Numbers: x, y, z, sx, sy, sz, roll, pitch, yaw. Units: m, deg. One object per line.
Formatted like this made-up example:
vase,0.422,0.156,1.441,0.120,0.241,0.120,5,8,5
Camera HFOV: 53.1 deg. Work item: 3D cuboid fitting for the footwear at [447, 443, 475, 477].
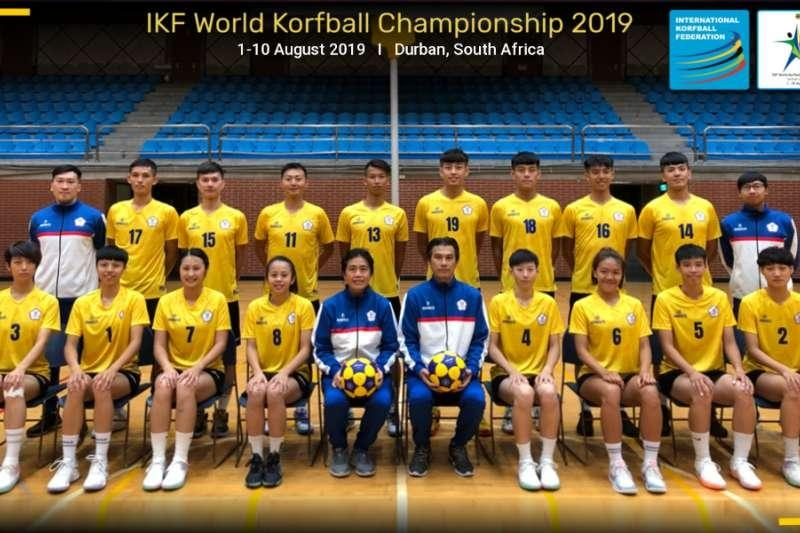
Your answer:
footwear,0.741,2.353,9.729,0.174,0.350,0.287,-4,4,-25

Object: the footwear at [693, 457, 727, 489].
footwear,3.690,2.445,9.542,0.332,0.348,0.227,-1,4,11

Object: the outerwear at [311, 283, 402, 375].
outerwear,-0.533,0.611,10.213,1.591,1.376,0.934,0,3,-5

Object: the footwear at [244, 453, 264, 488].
footwear,-1.723,2.428,9.553,0.223,0.376,0.227,-2,4,1

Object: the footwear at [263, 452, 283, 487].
footwear,-1.516,2.416,9.559,0.268,0.388,0.208,-4,4,-26

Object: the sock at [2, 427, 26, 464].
sock,-4.612,2.139,9.573,0.216,0.447,0.236,-4,4,-27

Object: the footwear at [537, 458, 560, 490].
footwear,1.763,2.460,9.530,0.242,0.341,0.287,-2,4,8

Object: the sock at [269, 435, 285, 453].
sock,-1.482,2.124,9.628,0.154,0.202,0.116,-3,4,-14

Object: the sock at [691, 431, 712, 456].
sock,3.605,2.128,9.624,0.177,0.329,0.193,0,4,25

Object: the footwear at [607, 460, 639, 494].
footwear,2.628,2.488,9.469,0.306,0.358,0.217,-1,4,11

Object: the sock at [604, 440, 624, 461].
sock,2.565,2.199,9.612,0.173,0.252,0.241,-1,4,17

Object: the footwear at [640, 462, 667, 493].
footwear,3.003,2.499,9.480,0.272,0.318,0.222,-1,4,12

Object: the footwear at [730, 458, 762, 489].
footwear,4.126,2.458,9.536,0.351,0.345,0.266,-2,4,3

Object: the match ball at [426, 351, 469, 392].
match ball,0.572,1.258,9.735,0.507,0.448,0.467,5,-1,0

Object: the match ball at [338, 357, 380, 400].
match ball,-0.551,1.368,9.730,0.524,0.448,0.458,-2,-17,-10

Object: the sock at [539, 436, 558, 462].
sock,1.764,2.164,9.600,0.172,0.280,0.203,-2,4,9

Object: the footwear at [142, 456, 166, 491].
footwear,-2.908,2.460,9.495,0.277,0.351,0.203,-3,4,-15

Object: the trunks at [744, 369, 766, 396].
trunks,4.352,1.423,9.823,0.197,0.311,0.153,0,4,26

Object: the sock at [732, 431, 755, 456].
sock,4.070,2.126,9.555,0.191,0.319,0.068,-1,4,19

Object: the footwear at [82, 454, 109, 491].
footwear,-3.568,2.468,9.437,0.190,0.206,0.522,6,0,-15

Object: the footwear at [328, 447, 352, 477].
footwear,-0.719,2.368,9.718,0.274,0.330,0.205,-3,4,-13
